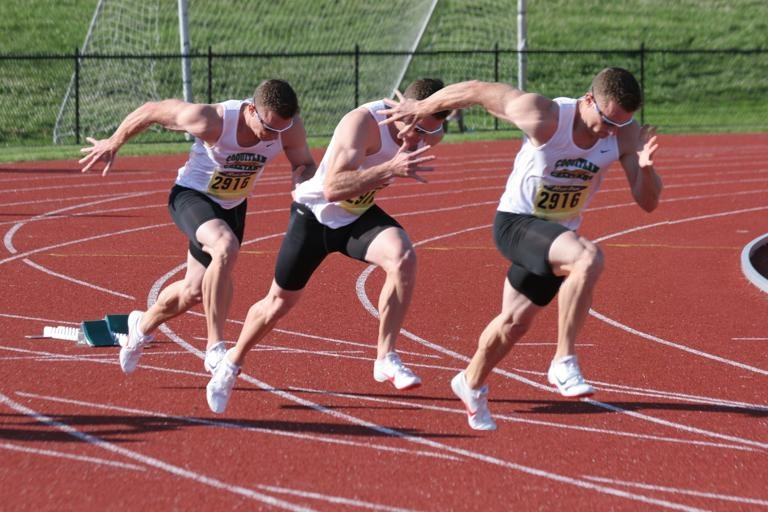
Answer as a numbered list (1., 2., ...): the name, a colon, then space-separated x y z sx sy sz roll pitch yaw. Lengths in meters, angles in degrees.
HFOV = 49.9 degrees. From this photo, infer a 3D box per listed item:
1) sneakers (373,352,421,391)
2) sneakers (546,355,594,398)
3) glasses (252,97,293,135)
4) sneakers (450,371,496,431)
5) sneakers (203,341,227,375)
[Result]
1. sneakers: 0.097 0.844 6.035 0.165 0.223 0.494 0 3 -37
2. sneakers: 1.326 0.833 5.790 0.189 0.241 0.494 -4 13 -1
3. glasses: -0.847 -1.010 6.100 0.222 0.059 0.239 -4 61 -42
4. sneakers: 0.607 1.043 5.808 0.477 0.218 0.163 44 -10 -20
5. sneakers: -1.261 0.725 6.181 0.129 0.320 0.114 16 -10 -6
